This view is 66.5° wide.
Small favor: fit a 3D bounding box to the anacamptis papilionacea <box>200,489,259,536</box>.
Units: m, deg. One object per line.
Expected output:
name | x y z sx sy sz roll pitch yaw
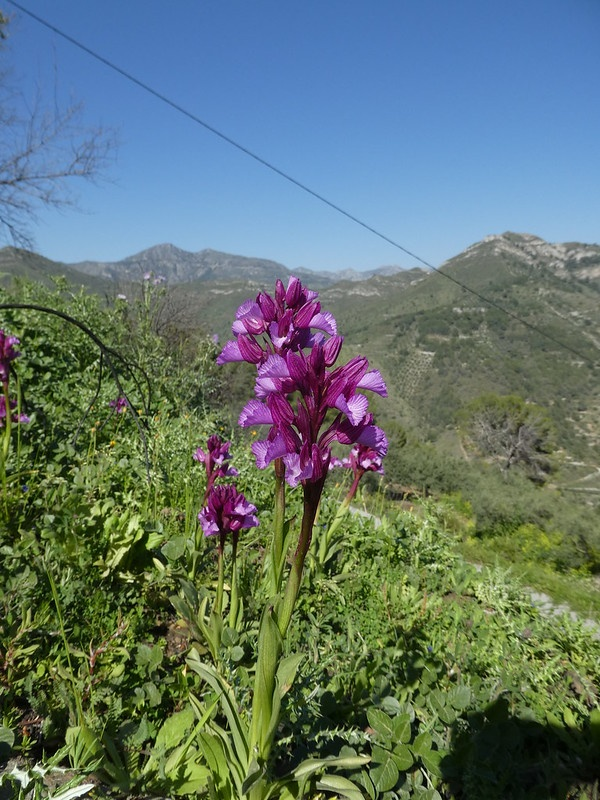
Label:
anacamptis papilionacea | -0.309 0.482 2.070 0.241 0.249 0.231 2 -14 -7
